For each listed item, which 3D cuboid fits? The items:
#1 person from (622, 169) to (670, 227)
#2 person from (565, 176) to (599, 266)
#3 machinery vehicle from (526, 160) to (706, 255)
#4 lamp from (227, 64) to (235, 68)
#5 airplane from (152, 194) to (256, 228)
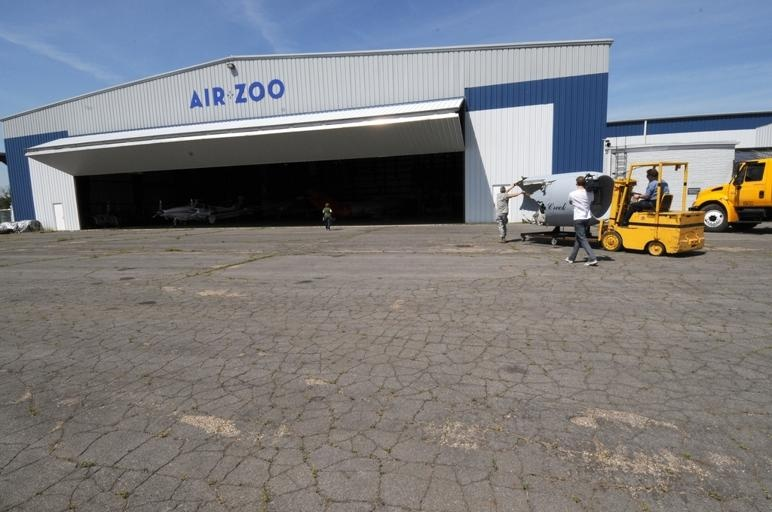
[{"bbox_3d":[6.036,-1.390,11.746,0.912,1.336,0.578,5,13,33],"label":"person"},{"bbox_3d":[4.341,-0.822,11.158,0.641,1.871,1.446,2,11,19],"label":"person"},{"bbox_3d":[5.374,-1.337,12.990,4.148,1.890,1.208,8,17,43],"label":"machinery vehicle"},{"bbox_3d":[-8.088,-9.921,26.265,0.398,0.287,0.152,2,11,16],"label":"lamp"},{"bbox_3d":[-10.873,-2.717,30.428,2.786,1.525,6.134,1,11,11],"label":"airplane"}]
